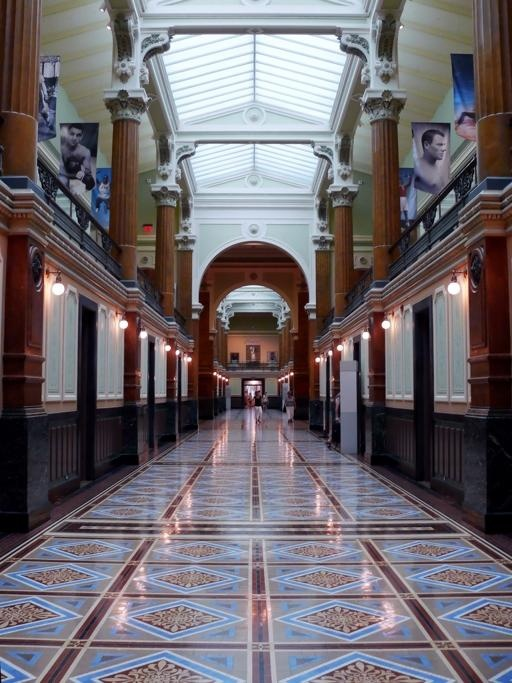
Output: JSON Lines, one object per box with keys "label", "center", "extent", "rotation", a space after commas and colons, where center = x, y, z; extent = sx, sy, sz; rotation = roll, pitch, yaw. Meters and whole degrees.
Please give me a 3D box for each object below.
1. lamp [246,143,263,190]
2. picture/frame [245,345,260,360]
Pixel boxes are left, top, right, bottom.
{"label": "lamp", "center": [-0.047, -8.245, 24.857], "extent": [0.695, 0.850, 2.036], "rotation": [1, -8, -2]}
{"label": "picture/frame", "center": [-0.355, 1.212, 57.823], "extent": [1.313, 1.882, 0.162], "rotation": [0, -12, -1]}
